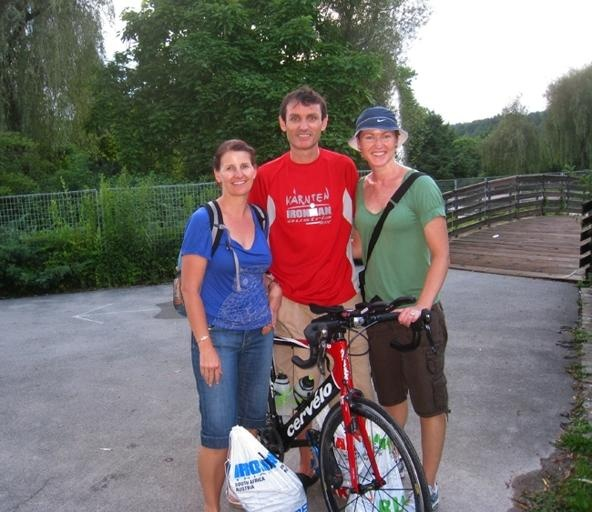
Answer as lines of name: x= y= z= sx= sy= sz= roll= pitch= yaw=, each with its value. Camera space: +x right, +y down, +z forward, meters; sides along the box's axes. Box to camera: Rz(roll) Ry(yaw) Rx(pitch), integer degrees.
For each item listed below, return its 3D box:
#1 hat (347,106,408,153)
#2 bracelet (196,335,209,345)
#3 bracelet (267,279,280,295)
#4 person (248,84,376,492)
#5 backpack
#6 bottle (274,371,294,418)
hat: x=0.511 y=-0.805 z=3.188 sx=0.300 sy=0.228 sz=0.372 roll=3 pitch=7 yaw=43
bracelet: x=-0.506 y=0.451 z=2.769 sx=0.046 sy=0.024 sz=0.058 roll=-31 pitch=-9 yaw=-23
bracelet: x=-0.143 y=0.198 z=3.308 sx=0.055 sy=0.101 sz=0.080 roll=-13 pitch=24 yaw=-34
person: x=0.190 y=0.259 z=3.490 sx=0.996 sy=2.745 sz=0.758 roll=-7 pitch=19 yaw=-4
backpack: x=-0.296 y=0.007 z=2.975 sx=0.442 sy=0.756 sz=0.367 roll=-7 pitch=9 yaw=2
bottle: x=-0.082 y=0.901 z=3.311 sx=0.129 sy=0.295 sz=0.147 roll=-3 pitch=-2 yaw=25
